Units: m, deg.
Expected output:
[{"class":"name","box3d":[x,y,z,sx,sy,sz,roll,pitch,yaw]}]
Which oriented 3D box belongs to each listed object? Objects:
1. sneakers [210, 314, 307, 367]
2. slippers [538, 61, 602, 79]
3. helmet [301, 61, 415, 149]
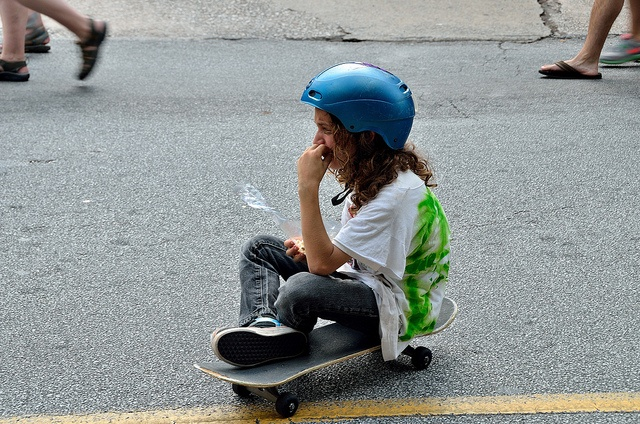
[{"class":"sneakers","box3d":[-0.389,0.782,4.947,0.648,0.220,0.239,-2,22,-17]},{"class":"slippers","box3d":[2.679,-1.508,8.666,0.677,0.150,0.214,4,1,-2]},{"class":"helmet","box3d":[0.232,-0.699,5.039,0.771,0.429,0.517,-2,20,-22]}]
